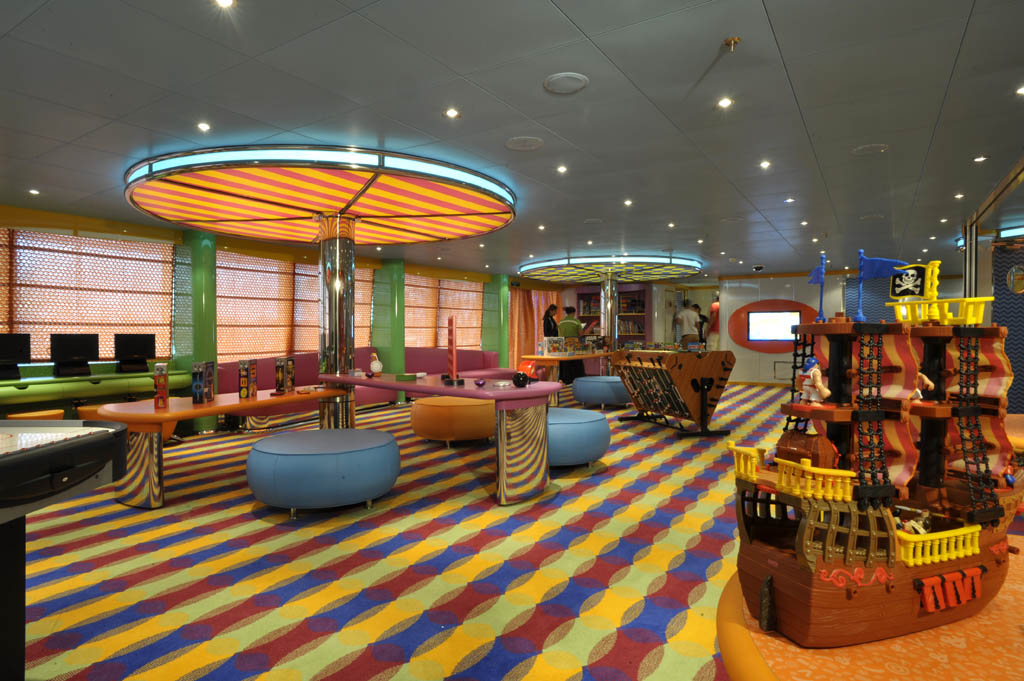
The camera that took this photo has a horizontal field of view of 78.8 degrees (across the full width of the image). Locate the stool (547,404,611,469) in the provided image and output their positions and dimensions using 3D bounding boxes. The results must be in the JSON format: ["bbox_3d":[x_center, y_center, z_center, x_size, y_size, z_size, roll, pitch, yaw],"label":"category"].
[{"bbox_3d":[0.751,1.133,7.473,0.738,0.438,0.699,-1,-2,-2],"label":"stool"}]

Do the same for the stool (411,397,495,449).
[{"bbox_3d":[-0.783,1.070,8.466,0.893,0.401,0.846,0,-2,9],"label":"stool"}]
